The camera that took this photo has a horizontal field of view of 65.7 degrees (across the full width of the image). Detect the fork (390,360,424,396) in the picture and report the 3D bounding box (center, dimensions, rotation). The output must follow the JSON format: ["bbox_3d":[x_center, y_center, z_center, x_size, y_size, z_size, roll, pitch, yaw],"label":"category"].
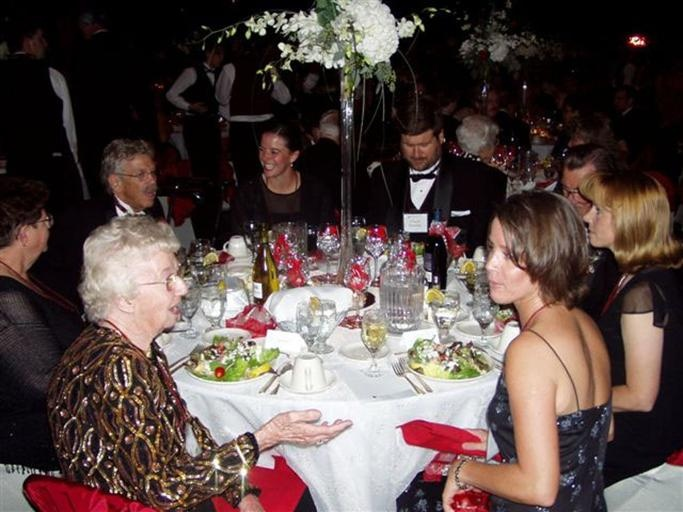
[{"bbox_3d":[0.234,0.434,1.946,0.040,0.028,0.226,-17,24,-12],"label":"fork"}]

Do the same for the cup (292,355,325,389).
[{"bbox_3d":[-0.127,0.406,1.849,0.081,0.091,0.129,1,12,0],"label":"cup"}]

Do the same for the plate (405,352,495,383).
[{"bbox_3d":[0.393,0.403,1.950,0.152,0.023,0.153,7,14,44],"label":"plate"}]

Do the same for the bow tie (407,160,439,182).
[{"bbox_3d":[0.625,-0.641,4.015,0.221,0.155,0.122,1,17,7],"label":"bow tie"}]

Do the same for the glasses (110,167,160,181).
[{"bbox_3d":[-1.221,-0.490,3.173,0.107,0.066,0.253,14,22,42],"label":"glasses"}]

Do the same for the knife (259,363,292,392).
[{"bbox_3d":[-0.238,0.429,1.922,0.037,0.022,0.260,23,14,8],"label":"knife"}]

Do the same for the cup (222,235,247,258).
[{"bbox_3d":[-0.669,-0.055,3.247,0.107,0.141,0.149,0,1,-13],"label":"cup"}]

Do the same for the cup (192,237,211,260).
[{"bbox_3d":[-0.794,-0.045,2.967,0.122,0.126,0.121,4,9,-1],"label":"cup"}]
